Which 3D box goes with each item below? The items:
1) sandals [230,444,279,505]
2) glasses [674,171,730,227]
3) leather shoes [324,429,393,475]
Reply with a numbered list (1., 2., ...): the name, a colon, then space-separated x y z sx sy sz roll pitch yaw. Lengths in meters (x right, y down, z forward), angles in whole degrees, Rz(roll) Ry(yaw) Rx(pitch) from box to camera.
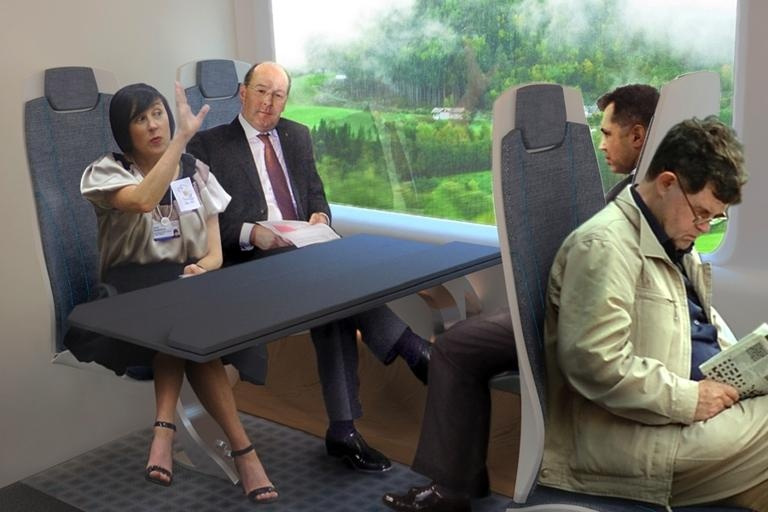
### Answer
1. sandals: -0.520 0.896 2.422 0.130 0.253 0.183 -16 22 -31
2. glasses: 0.949 -0.181 1.794 0.038 0.130 0.125 -22 -5 33
3. leather shoes: -0.115 0.867 2.748 0.351 0.152 0.138 9 12 22
